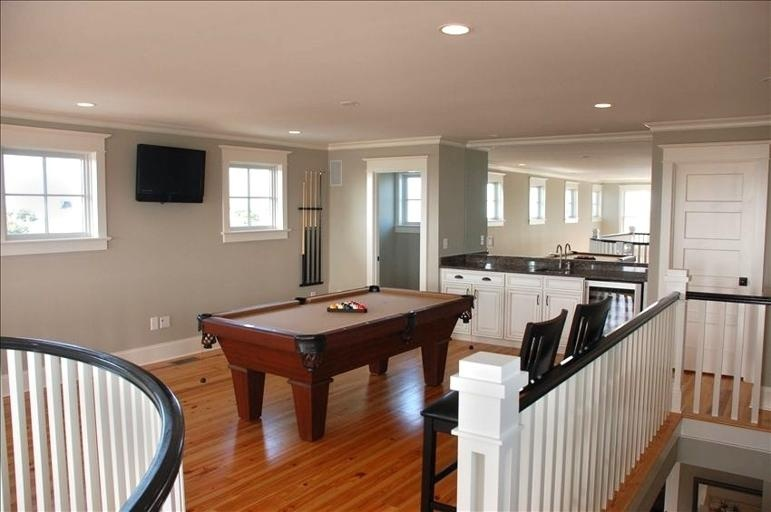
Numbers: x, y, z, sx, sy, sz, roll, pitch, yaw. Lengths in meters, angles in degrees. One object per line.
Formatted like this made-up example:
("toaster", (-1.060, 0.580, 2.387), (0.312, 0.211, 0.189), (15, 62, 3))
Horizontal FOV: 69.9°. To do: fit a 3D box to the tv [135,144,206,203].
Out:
("tv", (-2.583, -0.975, 6.525), (0.776, 0.623, 0.244), (-2, 6, -44))
